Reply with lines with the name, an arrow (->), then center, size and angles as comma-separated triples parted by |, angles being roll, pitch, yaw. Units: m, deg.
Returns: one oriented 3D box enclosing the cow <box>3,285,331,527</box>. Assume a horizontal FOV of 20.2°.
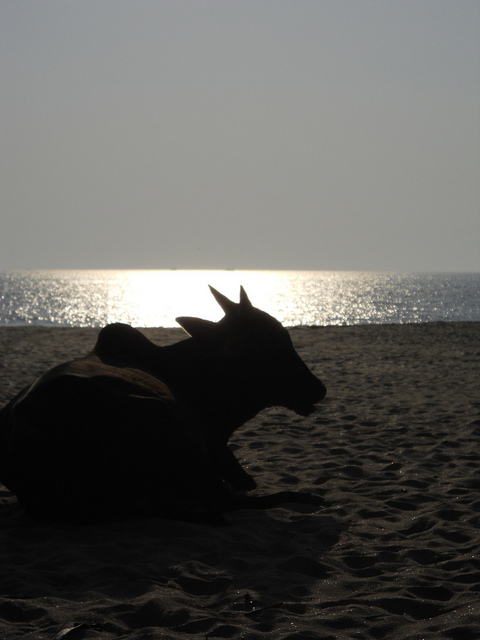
cow -> -0.442, 0.425, 7.037 | 0.909, 1.196, 1.600 | 7, 8, 37
